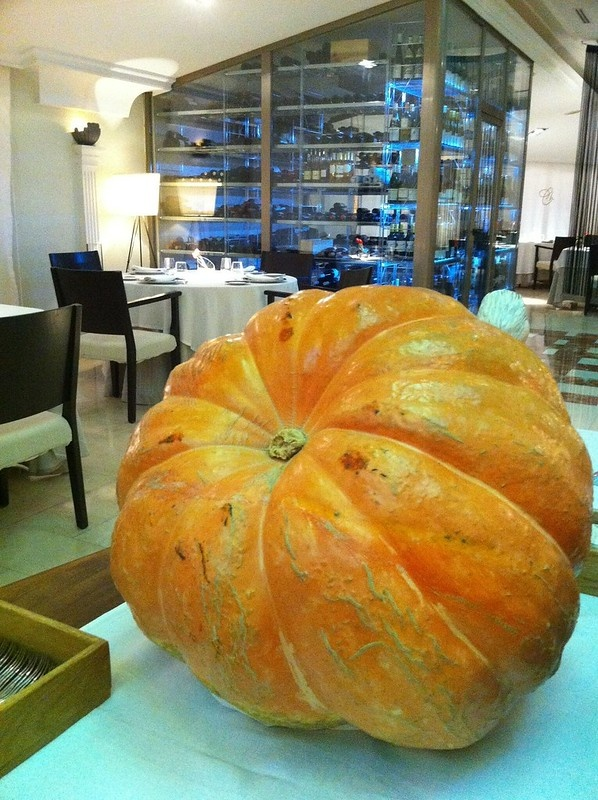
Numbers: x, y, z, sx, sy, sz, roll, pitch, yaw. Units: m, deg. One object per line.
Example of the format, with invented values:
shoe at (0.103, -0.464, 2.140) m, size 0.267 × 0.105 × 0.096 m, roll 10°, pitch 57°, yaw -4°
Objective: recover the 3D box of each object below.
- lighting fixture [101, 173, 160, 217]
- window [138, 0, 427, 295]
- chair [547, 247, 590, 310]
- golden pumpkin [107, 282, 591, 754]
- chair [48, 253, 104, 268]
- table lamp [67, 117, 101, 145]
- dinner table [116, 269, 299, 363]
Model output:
lighting fixture at (-1.646, -2.059, 6.057) m, size 0.621 × 0.431 × 0.621 m, roll 8°, pitch 14°, yaw 25°
window at (-0.071, -2.515, 5.626) m, size 3.180 × 3.451 × 0.148 m, roll 10°, pitch 22°, yaw 27°
chair at (4.201, -1.905, 9.048) m, size 0.689 × 0.885 × 0.803 m, roll 4°, pitch 23°, yaw 20°
golden pumpkin at (0.025, 0.095, 0.472) m, size 0.343 × 0.193 × 0.316 m, roll 11°, pitch 58°, yaw 32°
chair at (-1.763, -1.100, 4.589) m, size 0.320 × 0.144 × 0.353 m, roll -3°, pitch 19°, yaw 4°
table lamp at (-2.154, -2.673, 5.865) m, size 0.265 × 0.193 × 0.244 m, roll -8°, pitch 12°, yaw -42°
dinner table at (-0.621, -0.546, 4.102) m, size 0.974 × 0.357 × 1.001 m, roll -9°, pitch 17°, yaw -32°
